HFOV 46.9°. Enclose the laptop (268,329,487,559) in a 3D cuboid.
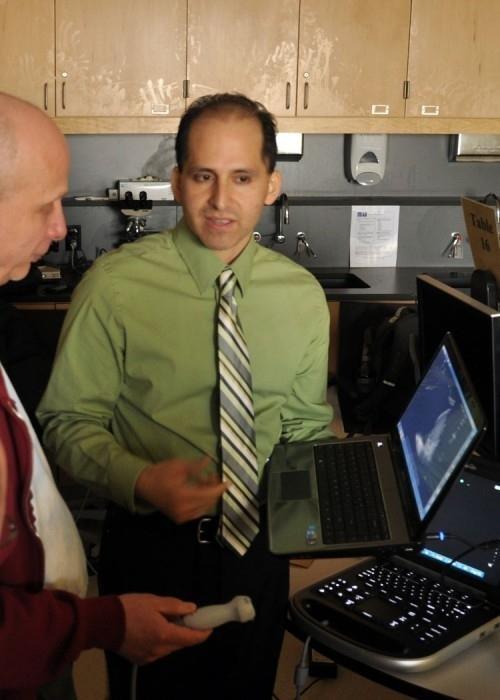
[{"bbox_3d":[0.191,0.166,0.904,0.359,0.241,0.310,-2,40,2],"label":"laptop"}]
